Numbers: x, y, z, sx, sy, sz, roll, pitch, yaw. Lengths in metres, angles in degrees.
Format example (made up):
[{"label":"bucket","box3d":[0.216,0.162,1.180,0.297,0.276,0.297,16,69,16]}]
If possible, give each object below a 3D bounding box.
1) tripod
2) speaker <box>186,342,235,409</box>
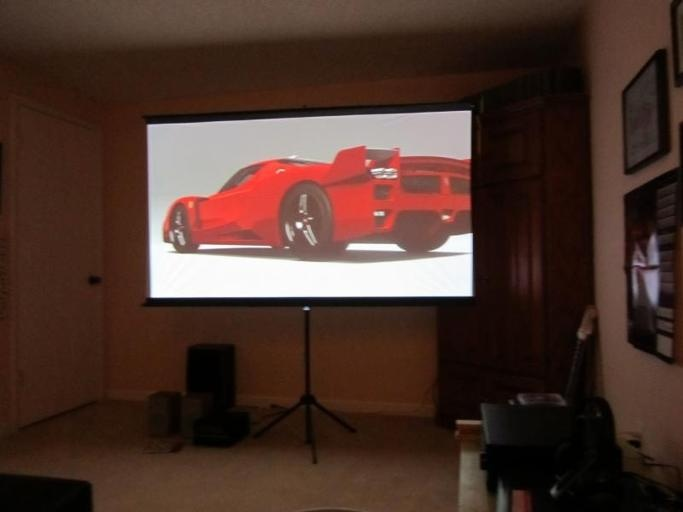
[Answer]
[{"label":"tripod","box3d":[-0.277,0.873,4.599,0.838,1.269,0.837,-2,-1,34]},{"label":"speaker","box3d":[-1.011,0.936,4.713,0.332,0.516,0.329,-1,13,0]}]
